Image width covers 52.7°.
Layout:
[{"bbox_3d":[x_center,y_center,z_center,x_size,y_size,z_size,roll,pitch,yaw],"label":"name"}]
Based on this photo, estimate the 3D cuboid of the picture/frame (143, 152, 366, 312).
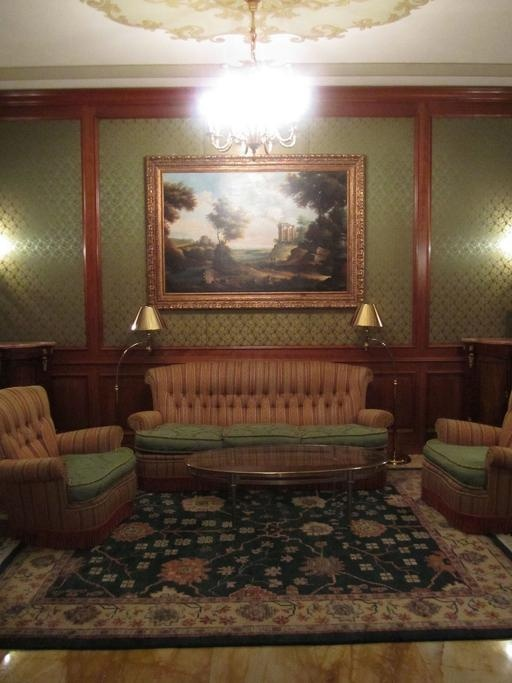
[{"bbox_3d":[0.008,-1.037,4.638,1.499,0.983,0.063,0,1,0],"label":"picture/frame"}]
